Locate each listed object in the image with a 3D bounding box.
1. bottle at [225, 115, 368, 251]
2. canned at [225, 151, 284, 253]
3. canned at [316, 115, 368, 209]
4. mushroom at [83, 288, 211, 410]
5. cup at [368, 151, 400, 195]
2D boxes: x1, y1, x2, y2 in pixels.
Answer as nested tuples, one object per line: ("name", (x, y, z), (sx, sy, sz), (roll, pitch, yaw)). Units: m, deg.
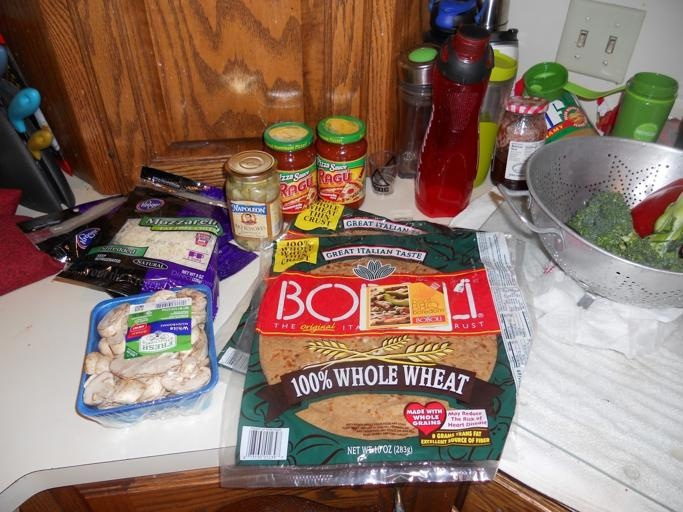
("bottle", (-0.077, -0.127, 0.847), (0.228, 0.141, 0.080), (-32, 50, -32))
("canned", (-0.148, -0.115, 0.862), (0.091, 0.159, 0.150), (5, 43, 7))
("canned", (0.000, -0.173, 0.910), (0.099, 0.148, 0.097), (7, 33, 12))
("mushroom", (-0.272, 0.123, 0.662), (0.181, 0.052, 0.173), (-10, 43, -9))
("cup", (0.076, -0.179, 1.009), (0.081, 0.082, 0.081), (-2, 35, 2))
